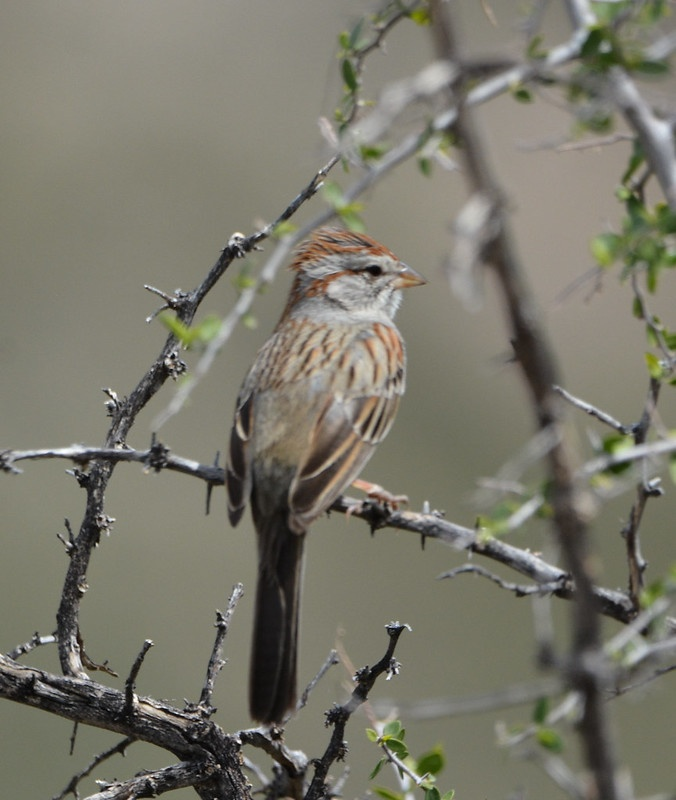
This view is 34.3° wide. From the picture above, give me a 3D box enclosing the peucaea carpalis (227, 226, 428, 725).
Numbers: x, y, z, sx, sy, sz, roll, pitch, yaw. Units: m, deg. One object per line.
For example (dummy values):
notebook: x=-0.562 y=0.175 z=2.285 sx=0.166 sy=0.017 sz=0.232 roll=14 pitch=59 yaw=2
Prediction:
peucaea carpalis: x=-0.492 y=0.231 z=3.727 sx=0.986 sy=1.452 sz=1.362 roll=0 pitch=-69 yaw=-8
